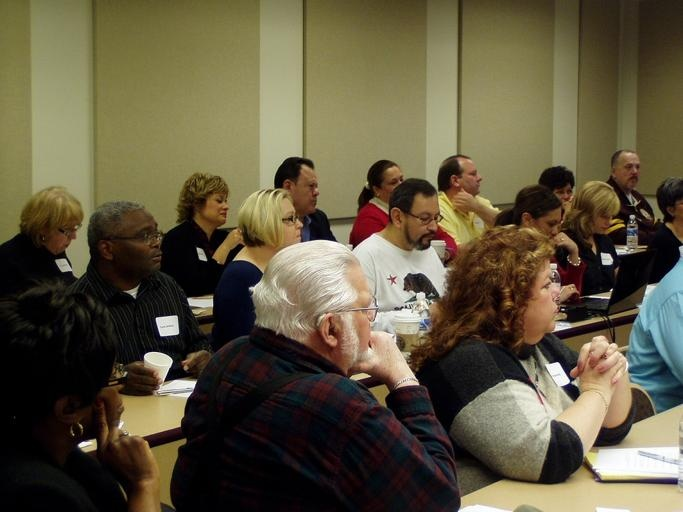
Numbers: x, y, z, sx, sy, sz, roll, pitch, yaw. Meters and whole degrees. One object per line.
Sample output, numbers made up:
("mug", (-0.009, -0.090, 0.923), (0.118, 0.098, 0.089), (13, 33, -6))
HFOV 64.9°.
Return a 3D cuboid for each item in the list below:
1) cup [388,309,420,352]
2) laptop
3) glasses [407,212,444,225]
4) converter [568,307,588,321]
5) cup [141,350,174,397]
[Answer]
("cup", (0.320, 0.376, 2.709), (0.146, 0.203, 0.167), (-2, 6, 14))
("laptop", (1.833, 0.173, 3.851), (0.394, 0.489, 0.626), (9, 12, 44))
("glasses", (0.529, -0.245, 3.442), (0.221, 0.075, 0.047), (-7, 8, -20))
("converter", (1.529, 0.378, 3.550), (0.142, 0.088, 0.095), (-2, -3, -23))
("cup", (-0.845, 0.528, 2.472), (0.139, 0.157, 0.147), (17, 32, -11))
